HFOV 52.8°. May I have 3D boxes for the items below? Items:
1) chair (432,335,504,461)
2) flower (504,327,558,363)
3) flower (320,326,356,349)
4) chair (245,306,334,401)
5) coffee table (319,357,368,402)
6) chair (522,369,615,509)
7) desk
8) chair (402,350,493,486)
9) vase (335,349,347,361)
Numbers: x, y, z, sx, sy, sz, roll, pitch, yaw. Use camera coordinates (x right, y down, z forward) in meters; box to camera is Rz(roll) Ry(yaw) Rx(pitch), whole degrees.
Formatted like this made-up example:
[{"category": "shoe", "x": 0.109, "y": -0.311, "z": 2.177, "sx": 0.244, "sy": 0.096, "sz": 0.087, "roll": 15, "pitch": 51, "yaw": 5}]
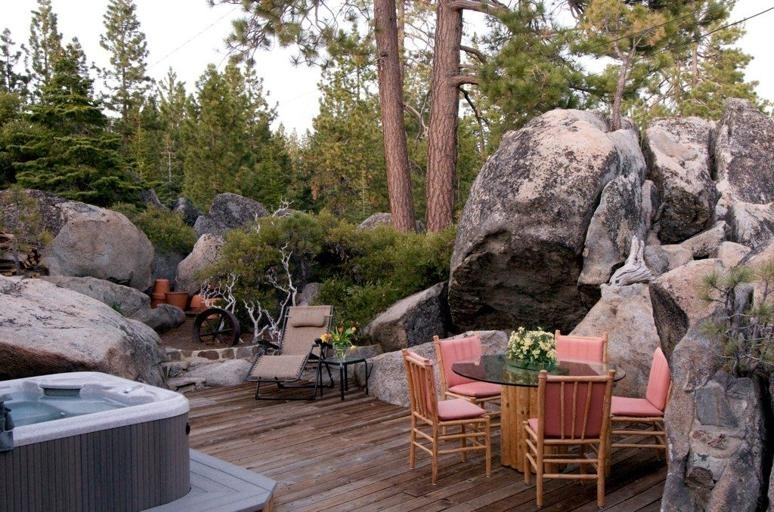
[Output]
[{"category": "chair", "x": 1.318, "y": 2.217, "z": 14.132, "sx": 1.198, "sy": 2.058, "sz": 1.142, "roll": -3, "pitch": 1, "yaw": -33}, {"category": "flower", "x": 2.442, "y": 1.532, "z": 13.422, "sx": 0.740, "sy": 0.536, "sz": 0.738, "roll": 5, "pitch": -2, "yaw": 35}, {"category": "flower", "x": -1.013, "y": 1.682, "z": 16.296, "sx": 0.514, "sy": 0.440, "sz": 0.582, "roll": -3, "pitch": -5, "yaw": 12}, {"category": "chair", "x": -1.904, "y": 1.970, "z": 16.044, "sx": 1.277, "sy": 1.840, "sz": 2.334, "roll": -2, "pitch": -2, "yaw": 15}, {"category": "coffee table", "x": -0.897, "y": 2.527, "z": 16.284, "sx": 1.174, "sy": 0.742, "sz": 1.292, "roll": -2, "pitch": -3, "yaw": -10}, {"category": "chair", "x": 2.892, "y": 2.870, "z": 12.596, "sx": 1.375, "sy": 2.261, "sz": 1.216, "roll": 3, "pitch": -3, "yaw": 9}, {"category": "desk", "x": 2.147, "y": 2.346, "z": 13.054, "sx": 1.905, "sy": 1.397, "sz": 2.094, "roll": 0, "pitch": 1, "yaw": -2}, {"category": "chair", "x": 0.968, "y": 2.680, "z": 13.279, "sx": 1.674, "sy": 2.106, "sz": 1.516, "roll": 6, "pitch": -4, "yaw": -40}, {"category": "vase", "x": -0.916, "y": 2.005, "z": 16.043, "sx": 0.178, "sy": 0.225, "sz": 0.201, "roll": 4, "pitch": -6, "yaw": -6}]
